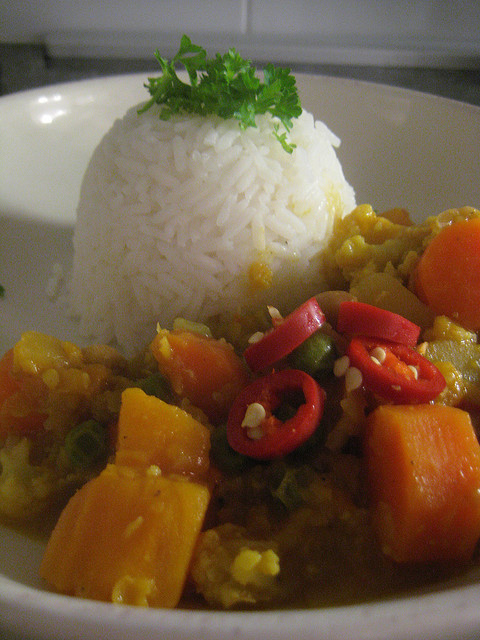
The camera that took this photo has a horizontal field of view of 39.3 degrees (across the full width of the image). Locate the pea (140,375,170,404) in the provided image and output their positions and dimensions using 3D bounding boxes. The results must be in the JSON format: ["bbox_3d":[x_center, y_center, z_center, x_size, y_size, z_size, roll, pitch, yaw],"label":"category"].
[{"bbox_3d":[-0.148,0.120,1.196,0.047,0.015,0.043,16,46,-28],"label":"pea"}]

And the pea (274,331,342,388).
[{"bbox_3d":[0.125,0.059,1.183,0.138,0.084,0.091,-2,15,-29],"label":"pea"}]

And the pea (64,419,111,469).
[{"bbox_3d":[-0.254,0.209,1.128,0.074,0.044,0.069,-15,40,-27],"label":"pea"}]

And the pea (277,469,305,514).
[{"bbox_3d":[0.081,0.264,1.031,0.045,0.056,0.042,12,37,7],"label":"pea"}]

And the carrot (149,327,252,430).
[{"bbox_3d":[-0.086,0.107,1.251,0.213,0.128,0.130,34,74,7],"label":"carrot"}]
